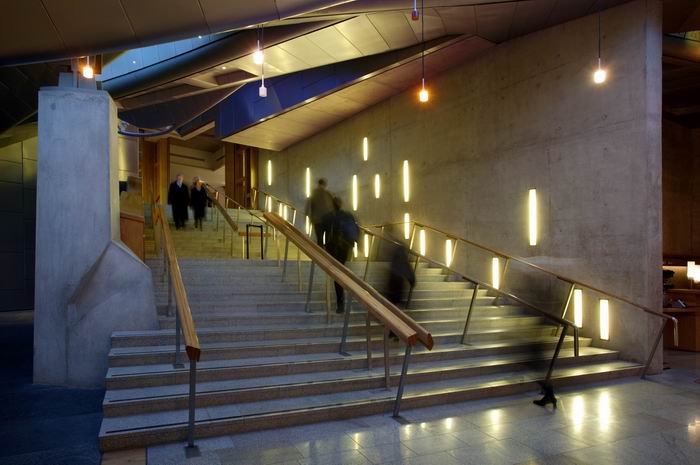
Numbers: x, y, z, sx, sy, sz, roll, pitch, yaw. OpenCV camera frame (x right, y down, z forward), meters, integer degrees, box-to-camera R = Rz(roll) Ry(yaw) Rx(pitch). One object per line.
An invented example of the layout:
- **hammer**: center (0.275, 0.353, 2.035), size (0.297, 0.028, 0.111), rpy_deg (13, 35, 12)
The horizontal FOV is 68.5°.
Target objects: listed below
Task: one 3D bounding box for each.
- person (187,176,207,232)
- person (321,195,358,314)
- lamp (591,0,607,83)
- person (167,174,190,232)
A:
- **person**: center (-4.648, -0.871, 15.731), size (0.457, 1.557, 0.538), rpy_deg (1, -2, -18)
- **person**: center (-0.199, 0.422, 10.040), size (0.666, 2.218, 0.664), rpy_deg (1, -2, -4)
- **lamp**: center (4.908, -3.689, 10.154), size (0.260, 1.486, 0.410), rpy_deg (0, -2, 22)
- **person**: center (-5.103, -0.903, 15.370), size (0.557, 1.631, 0.661), rpy_deg (1, -2, -18)
